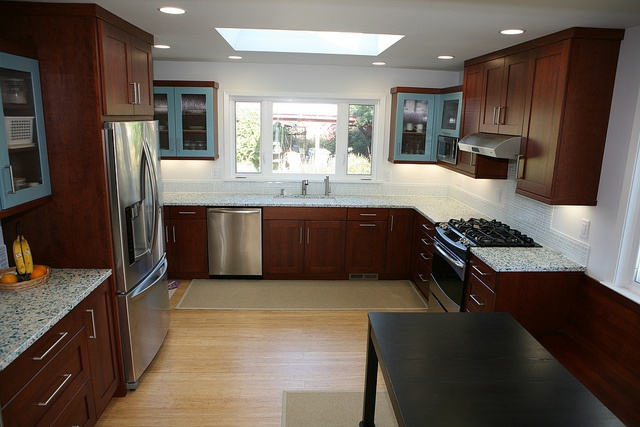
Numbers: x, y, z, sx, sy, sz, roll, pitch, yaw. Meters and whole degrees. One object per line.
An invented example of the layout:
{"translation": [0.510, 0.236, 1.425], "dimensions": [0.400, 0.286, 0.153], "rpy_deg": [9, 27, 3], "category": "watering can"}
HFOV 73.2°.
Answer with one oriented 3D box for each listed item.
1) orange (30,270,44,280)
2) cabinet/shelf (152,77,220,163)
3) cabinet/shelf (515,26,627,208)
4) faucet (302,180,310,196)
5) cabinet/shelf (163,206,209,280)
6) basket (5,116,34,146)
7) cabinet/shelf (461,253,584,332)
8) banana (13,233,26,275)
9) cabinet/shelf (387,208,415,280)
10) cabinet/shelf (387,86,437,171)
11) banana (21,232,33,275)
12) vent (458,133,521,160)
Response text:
{"translation": [-2.144, 0.460, 3.259], "dimensions": [0.065, 0.060, 0.061], "rpy_deg": [-1, 8, -41], "category": "orange"}
{"translation": [-1.813, -1.187, 5.730], "dimensions": [1.072, 0.963, 0.372], "rpy_deg": [4, 9, 14], "category": "cabinet/shelf"}
{"translation": [2.093, -0.805, 3.691], "dimensions": [0.668, 1.423, 0.434], "rpy_deg": [8, 17, 30], "category": "cabinet/shelf"}
{"translation": [-0.205, -0.369, 6.010], "dimensions": [0.080, 0.213, 0.124], "rpy_deg": [2, 15, 10], "category": "faucet"}
{"translation": [-1.790, 0.448, 5.674], "dimensions": [0.572, 0.995, 0.563], "rpy_deg": [4, -30, -26], "category": "cabinet/shelf"}
{"translation": [-2.195, -0.600, 3.152], "dimensions": [0.190, 0.165, 0.184], "rpy_deg": [0, 5, -14], "category": "basket"}
{"translation": [1.801, 0.711, 3.964], "dimensions": [0.629, 0.817, 0.901], "rpy_deg": [1, 11, -1], "category": "cabinet/shelf"}
{"translation": [-2.213, 0.304, 3.168], "dimensions": [0.058, 0.313, 0.091], "rpy_deg": [-12, 18, -36], "category": "banana"}
{"translation": [0.962, 0.402, 5.865], "dimensions": [0.388, 0.963, 0.441], "rpy_deg": [-2, 12, -21], "category": "cabinet/shelf"}
{"translation": [1.269, -1.170, 5.719], "dimensions": [0.583, 0.978, 0.158], "rpy_deg": [-3, 15, -8], "category": "cabinet/shelf"}
{"translation": [-2.165, 0.289, 3.189], "dimensions": [0.076, 0.290, 0.099], "rpy_deg": [-7, -6, -37], "category": "banana"}
{"translation": [1.682, -0.685, 4.331], "dimensions": [0.263, 0.233, 0.746], "rpy_deg": [-4, 14, -10], "category": "vent"}
